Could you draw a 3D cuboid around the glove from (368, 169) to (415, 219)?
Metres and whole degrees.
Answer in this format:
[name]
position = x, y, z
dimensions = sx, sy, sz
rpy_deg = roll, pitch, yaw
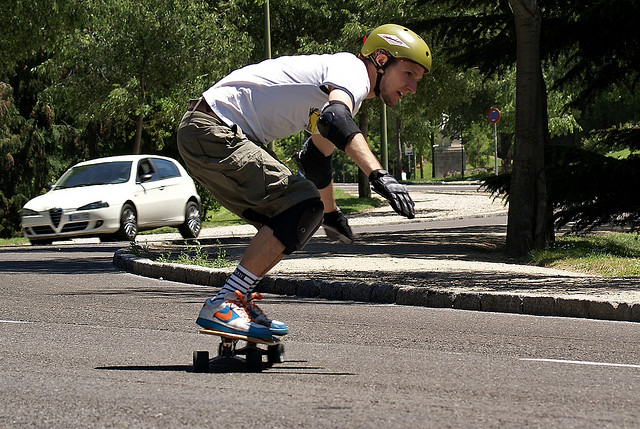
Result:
[glove]
position = 0.560, -0.123, 5.893
dimensions = 0.497, 0.170, 0.337
rpy_deg = 45, 3, 22

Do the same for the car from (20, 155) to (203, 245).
[car]
position = -4.901, -0.399, 18.604
dimensions = 2.471, 2.000, 4.686
rpy_deg = -5, 1, 18
